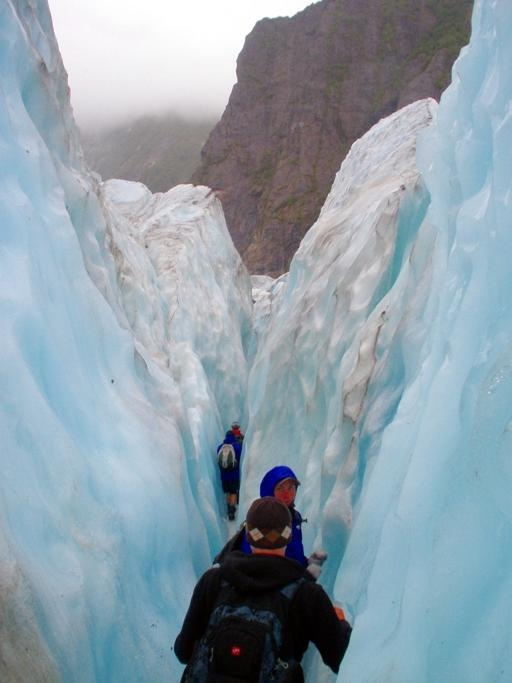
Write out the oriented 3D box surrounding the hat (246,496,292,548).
[{"bbox_3d":[0.043,0.558,2.223,0.099,0.167,0.155,-3,-13,-21],"label":"hat"}]
